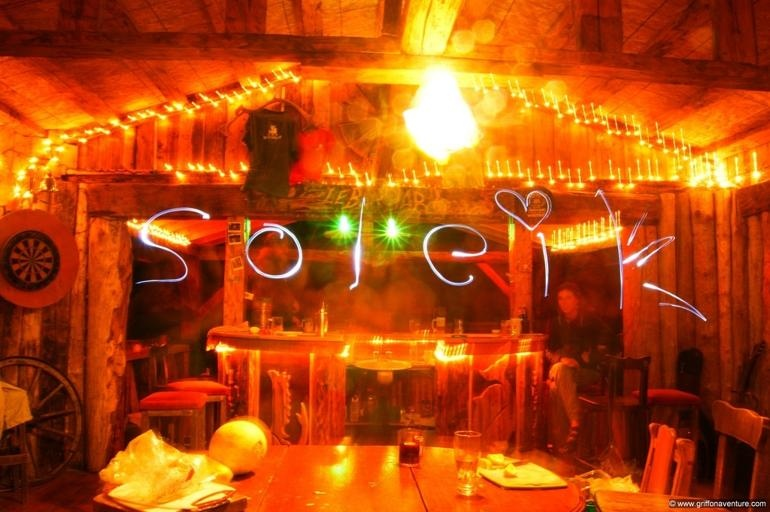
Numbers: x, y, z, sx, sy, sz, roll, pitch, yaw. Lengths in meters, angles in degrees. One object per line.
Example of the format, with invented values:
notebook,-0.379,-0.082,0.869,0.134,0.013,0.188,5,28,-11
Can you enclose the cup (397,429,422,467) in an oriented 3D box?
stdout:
cup,0.224,1.762,7.328,0.232,0.350,0.313,0,-104,1

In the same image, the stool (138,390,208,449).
stool,-2.978,2.223,10.433,0.878,0.849,0.866,1,-100,-7

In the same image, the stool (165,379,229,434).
stool,-2.687,2.069,10.582,0.841,1.151,0.516,-5,-93,8

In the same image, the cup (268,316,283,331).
cup,-1.480,0.895,10.499,0.188,0.309,0.165,2,-87,1
